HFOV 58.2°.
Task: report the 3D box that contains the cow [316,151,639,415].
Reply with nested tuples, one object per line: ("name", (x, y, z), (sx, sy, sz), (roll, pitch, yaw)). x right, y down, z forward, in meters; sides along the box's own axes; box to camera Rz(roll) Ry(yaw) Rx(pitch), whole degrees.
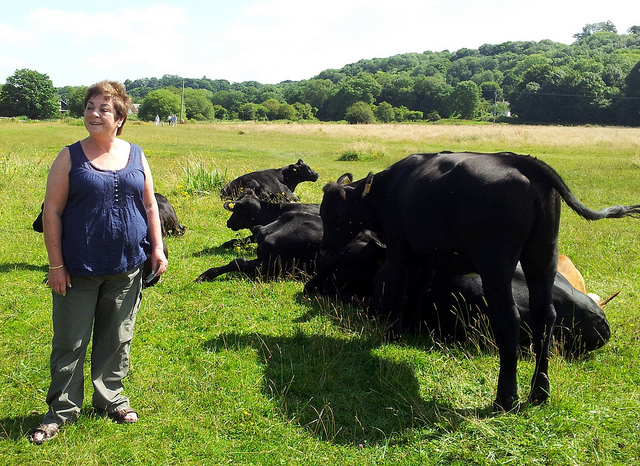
("cow", (1.558, 0.160, 8.128), (2.226, 2.745, 4.841), (-4, 13, -27))

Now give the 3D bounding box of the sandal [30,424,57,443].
("sandal", (-2.821, 2.059, 5.870), (0.143, 0.095, 0.227), (0, 2, 13))

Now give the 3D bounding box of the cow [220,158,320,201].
("cow", (-1.414, -1.386, 16.789), (2.856, 1.250, 0.944), (-6, -3, -25))

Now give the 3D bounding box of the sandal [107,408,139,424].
("sandal", (-2.173, 1.986, 6.275), (0.224, 0.096, 0.160), (6, 2, 4))

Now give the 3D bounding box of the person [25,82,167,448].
("person", (-2.379, 0.284, 6.042), (1.402, 3.603, 0.712), (-5, 13, -30))
